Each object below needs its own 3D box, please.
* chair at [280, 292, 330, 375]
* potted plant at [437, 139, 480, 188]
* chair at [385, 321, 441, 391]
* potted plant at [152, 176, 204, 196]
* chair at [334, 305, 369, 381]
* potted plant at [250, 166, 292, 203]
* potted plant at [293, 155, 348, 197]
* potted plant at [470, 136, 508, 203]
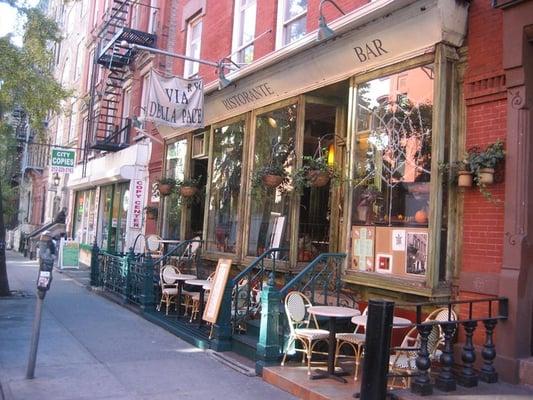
[{"bbox_3d":[0.605,1.989,7.560,0.691,1.126,1.019,3,-9,8],"label":"chair"},{"bbox_3d":[2.879,-0.520,7.446,0.495,0.747,0.731,3,-3,14],"label":"potted plant"},{"bbox_3d":[2.007,2.077,6.694,0.665,0.954,1.648,2,-9,15],"label":"chair"},{"bbox_3d":[-2.360,-0.337,13.393,0.534,0.649,1.489,12,-12,-43],"label":"potted plant"},{"bbox_3d":[1.284,2.119,7.518,0.434,0.967,1.373,2,-9,10],"label":"chair"},{"bbox_3d":[0.106,-0.368,10.290,0.709,0.501,0.749,-2,-8,9],"label":"potted plant"},{"bbox_3d":[0.973,-0.465,9.599,0.632,0.503,0.833,1,-3,-4],"label":"potted plant"},{"bbox_3d":[3.148,-0.417,7.028,0.469,0.866,0.276,-1,-10,28],"label":"potted plant"}]
